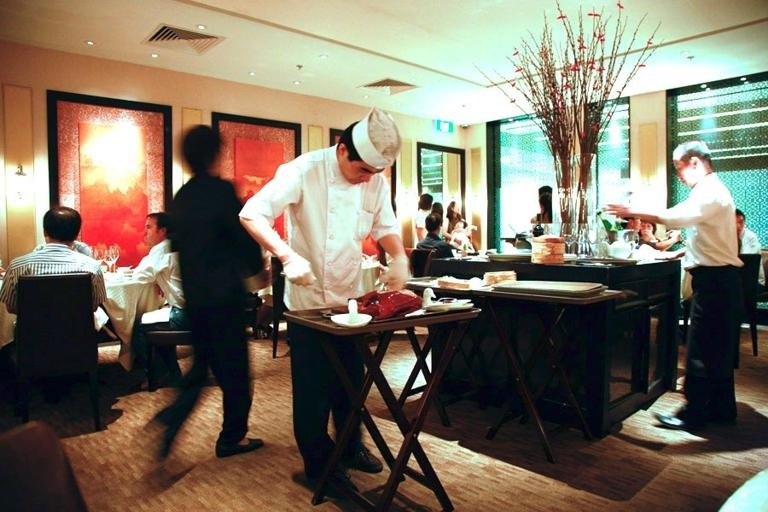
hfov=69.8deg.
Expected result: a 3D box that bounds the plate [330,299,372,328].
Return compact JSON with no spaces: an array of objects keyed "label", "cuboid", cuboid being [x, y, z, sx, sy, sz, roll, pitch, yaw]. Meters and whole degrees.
[{"label":"plate","cuboid":[-0.196,0.307,3.110,0.255,0.142,0.197,10,17,39]}]

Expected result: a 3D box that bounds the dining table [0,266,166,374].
[{"label":"dining table","cuboid":[-2.603,0.588,5.094,0.962,0.845,0.927,-2,9,-16]}]

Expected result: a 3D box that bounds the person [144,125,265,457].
[{"label":"person","cuboid":[-1.168,0.312,4.017,0.882,2.425,0.786,3,8,0]}]

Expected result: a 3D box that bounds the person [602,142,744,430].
[{"label":"person","cuboid":[2.538,0.210,4.423,0.878,2.206,0.698,-6,15,-21]}]

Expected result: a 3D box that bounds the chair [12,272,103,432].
[{"label":"chair","cuboid":[-2.643,0.734,4.623,0.652,1.212,0.719,1,5,-13]}]

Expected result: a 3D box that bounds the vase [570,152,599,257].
[{"label":"vase","cuboid":[1.663,-0.409,4.447,0.342,0.822,0.189,-14,19,-43]}]

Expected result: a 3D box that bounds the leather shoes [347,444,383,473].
[{"label":"leather shoes","cuboid":[-0.133,1.394,3.759,0.247,0.110,0.158,0,-2,28]}]

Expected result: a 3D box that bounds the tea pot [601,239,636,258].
[{"label":"tea pot","cuboid":[1.911,-0.054,4.429,0.194,0.131,0.147,-1,2,9]}]

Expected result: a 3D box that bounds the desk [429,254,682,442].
[{"label":"desk","cuboid":[1.592,0.652,4.741,1.515,1.138,1.607,2,4,36]}]

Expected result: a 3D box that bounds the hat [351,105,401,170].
[{"label":"hat","cuboid":[-0.038,-0.680,3.260,0.286,0.364,0.123,-11,7,-20]}]

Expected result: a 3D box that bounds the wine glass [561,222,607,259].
[{"label":"wine glass","cuboid":[1.636,-0.148,4.515,0.334,0.315,0.307,0,6,8]}]

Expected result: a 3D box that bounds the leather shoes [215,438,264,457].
[{"label":"leather shoes","cuboid":[-1.070,1.412,4.088,0.348,0.096,0.126,-1,1,-30]}]
